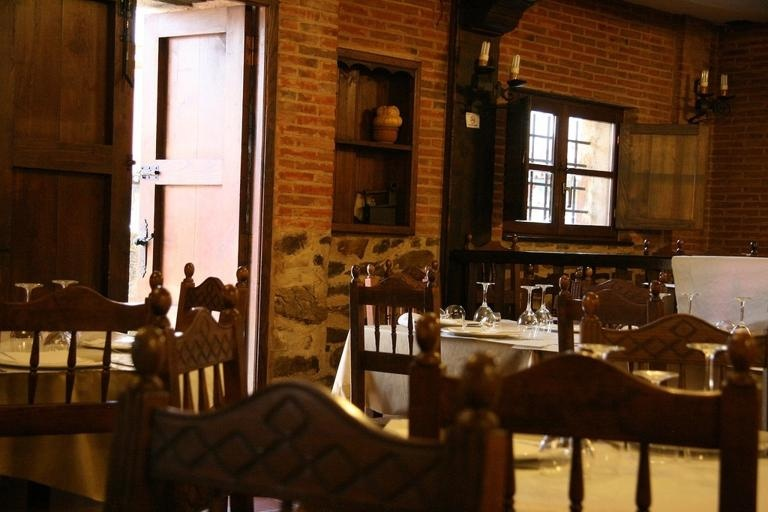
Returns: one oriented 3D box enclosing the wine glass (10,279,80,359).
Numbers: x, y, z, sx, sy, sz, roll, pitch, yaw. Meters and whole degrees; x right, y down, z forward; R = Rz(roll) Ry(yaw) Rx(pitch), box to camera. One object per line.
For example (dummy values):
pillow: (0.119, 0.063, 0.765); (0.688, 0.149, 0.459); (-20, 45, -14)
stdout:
wine glass: (-1.164, 0.222, 2.355); (0.240, 0.258, 0.215); (0, -3, 3)

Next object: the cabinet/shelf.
cabinet/shelf: (-0.143, -0.880, 5.351); (0.723, 1.271, 0.341); (-2, 13, -23)

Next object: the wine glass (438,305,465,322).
wine glass: (0.319, 0.268, 3.303); (0.091, 0.088, 0.087); (0, -2, 21)

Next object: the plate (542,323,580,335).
plate: (0.684, 0.286, 2.704); (0.142, 0.037, 0.158); (1, 1, 45)
